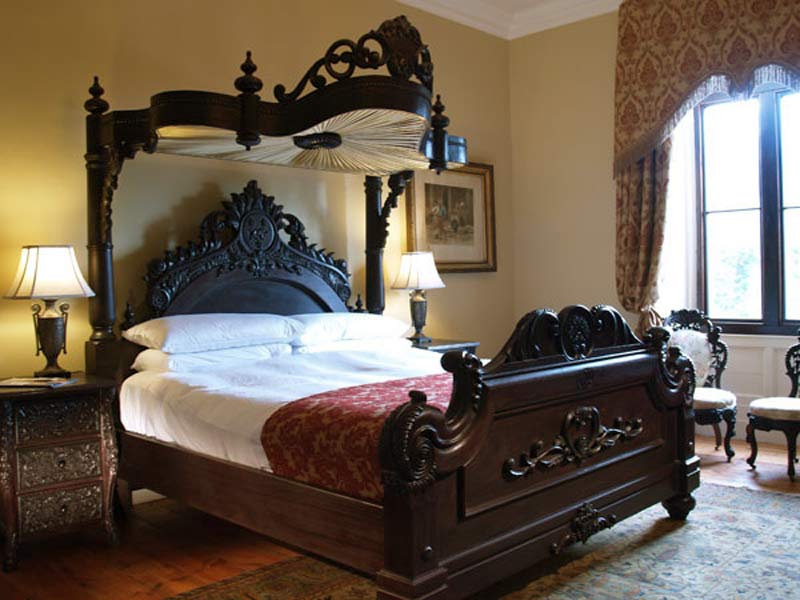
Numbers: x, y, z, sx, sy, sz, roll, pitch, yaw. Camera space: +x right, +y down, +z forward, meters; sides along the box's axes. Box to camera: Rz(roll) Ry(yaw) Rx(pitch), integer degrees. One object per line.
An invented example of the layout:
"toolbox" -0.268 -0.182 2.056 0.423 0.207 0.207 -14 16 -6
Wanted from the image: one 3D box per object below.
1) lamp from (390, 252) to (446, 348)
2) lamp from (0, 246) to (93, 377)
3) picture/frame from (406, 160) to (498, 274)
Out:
"lamp" 0.164 0.013 5.543 0.413 0.743 0.415 -2 -4 27
"lamp" -2.089 0.057 3.915 0.439 0.765 0.441 -5 5 -41
"picture/frame" 0.481 -0.790 6.199 1.066 1.019 0.077 -4 5 -37
